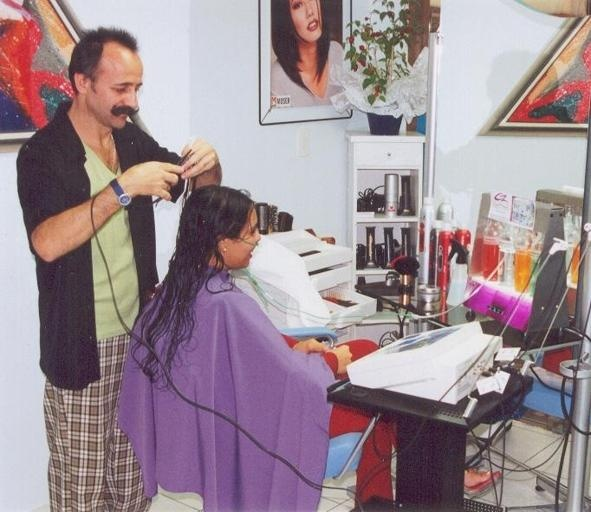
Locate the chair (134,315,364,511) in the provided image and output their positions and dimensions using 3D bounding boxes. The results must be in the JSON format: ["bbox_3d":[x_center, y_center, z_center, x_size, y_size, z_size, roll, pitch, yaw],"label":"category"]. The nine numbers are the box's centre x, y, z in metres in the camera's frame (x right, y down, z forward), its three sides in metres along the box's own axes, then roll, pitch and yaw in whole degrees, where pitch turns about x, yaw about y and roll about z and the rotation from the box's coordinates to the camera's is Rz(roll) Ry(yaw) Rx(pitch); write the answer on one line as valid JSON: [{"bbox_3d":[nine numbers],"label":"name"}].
[{"bbox_3d":[-0.162,0.497,2.118,0.561,0.732,0.641,-15,17,-43],"label":"chair"}]

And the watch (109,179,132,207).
[{"bbox_3d":[-0.591,-0.222,2.153,0.050,0.088,0.077,-37,18,-11],"label":"watch"}]

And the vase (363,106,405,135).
[{"bbox_3d":[0.470,-0.712,3.363,0.121,0.098,0.135,-2,7,-21],"label":"vase"}]
